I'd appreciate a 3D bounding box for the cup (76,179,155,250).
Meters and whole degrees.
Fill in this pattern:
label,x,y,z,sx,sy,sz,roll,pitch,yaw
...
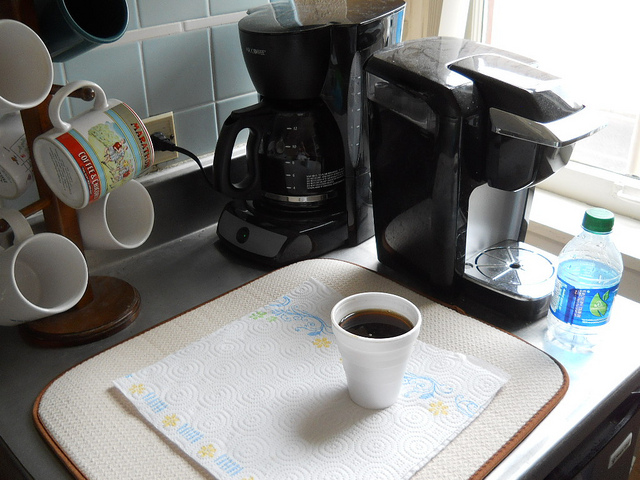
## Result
label,x,y,z,sx,sy,sz,roll,pitch,yaw
cup,-0.316,-0.032,0.759,0.107,0.108,0.101,2,28,-1

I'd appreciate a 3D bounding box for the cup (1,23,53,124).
label,x,y,z,sx,sy,sz,roll,pitch,yaw
cup,-0.358,-0.197,0.583,0.062,0.105,0.095,-8,15,-27

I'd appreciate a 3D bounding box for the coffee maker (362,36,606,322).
label,x,y,z,sx,sy,sz,roll,pitch,yaw
coffee maker,0.268,-0.104,0.816,0.239,0.385,0.352,-24,36,-28

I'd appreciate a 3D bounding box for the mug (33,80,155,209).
label,x,y,z,sx,sy,sz,roll,pitch,yaw
mug,-0.324,-0.138,0.689,0.106,0.172,0.135,9,37,15

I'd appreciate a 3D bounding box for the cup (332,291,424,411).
label,x,y,z,sx,sy,sz,roll,pitch,yaw
cup,0.074,0.145,0.614,0.100,0.120,0.113,5,24,11

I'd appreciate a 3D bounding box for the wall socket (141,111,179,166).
label,x,y,z,sx,sy,sz,roll,pitch,yaw
wall socket,-0.312,-0.204,0.975,0.065,0.100,0.053,26,38,35
